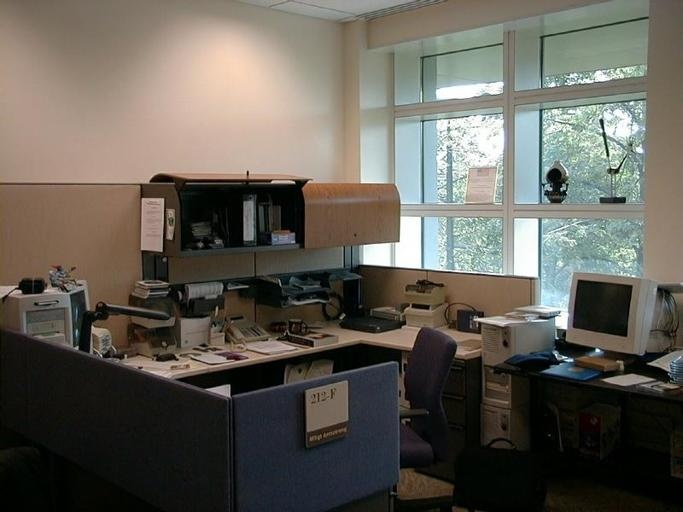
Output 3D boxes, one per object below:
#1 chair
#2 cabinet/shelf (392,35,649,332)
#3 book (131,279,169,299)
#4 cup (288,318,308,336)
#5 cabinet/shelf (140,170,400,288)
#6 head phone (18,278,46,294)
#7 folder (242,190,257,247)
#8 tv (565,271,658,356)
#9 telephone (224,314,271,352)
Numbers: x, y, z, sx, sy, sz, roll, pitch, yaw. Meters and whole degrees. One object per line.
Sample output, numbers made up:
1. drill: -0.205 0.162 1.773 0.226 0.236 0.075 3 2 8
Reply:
1. chair: 0.459 0.811 3.336 0.303 0.730 0.496 7 9 -16
2. cabinet/shelf: 1.461 -0.779 4.842 2.271 1.463 0.458 17 11 38
3. book: -1.323 0.232 3.870 0.159 0.070 0.162 2 1 6
4. cup: -0.343 0.584 4.472 0.143 0.107 0.092 1 3 14
5. cabinet/shelf: -0.438 -0.235 4.518 1.906 0.862 0.639 -4 6 -32
6. head phone: -1.590 0.153 2.863 0.105 0.073 0.077 0 1 -18
7. folder: -0.684 -0.263 4.229 0.089 0.391 0.105 -2 -4 -5
8. tv: 1.853 0.402 3.790 0.304 0.541 0.499 8 3 -42
9. telephone: -0.773 0.596 4.389 0.227 0.098 0.243 27 20 35
